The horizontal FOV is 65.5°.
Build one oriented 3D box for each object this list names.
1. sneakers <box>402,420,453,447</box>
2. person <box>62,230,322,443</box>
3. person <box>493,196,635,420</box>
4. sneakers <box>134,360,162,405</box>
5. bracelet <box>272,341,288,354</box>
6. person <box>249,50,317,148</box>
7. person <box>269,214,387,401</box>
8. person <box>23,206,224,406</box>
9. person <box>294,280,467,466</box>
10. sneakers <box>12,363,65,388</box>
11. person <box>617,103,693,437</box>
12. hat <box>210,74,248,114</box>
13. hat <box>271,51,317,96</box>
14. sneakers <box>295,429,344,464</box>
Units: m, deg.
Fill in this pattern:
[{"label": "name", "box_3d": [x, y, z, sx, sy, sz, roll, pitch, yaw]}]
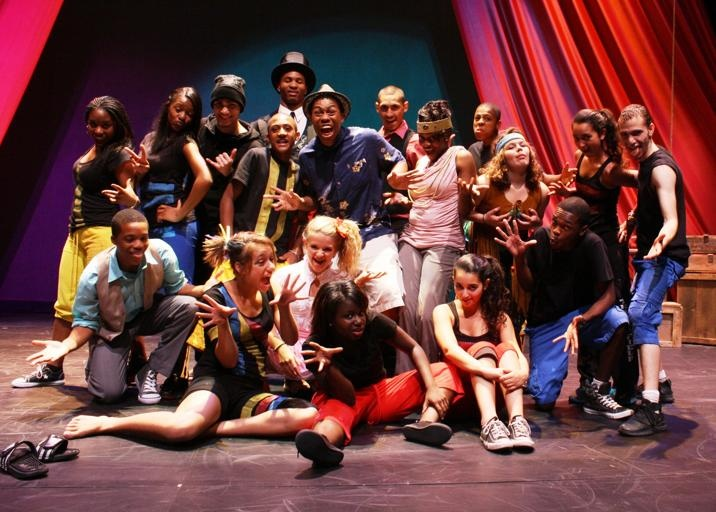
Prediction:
[{"label": "sneakers", "box_3d": [0.312, 0.773, 2.481, 0.221, 0.095, 0.093, 1, 8, 22]}, {"label": "person", "box_3d": [-0.724, 0.373, 2.524, 1.085, 0.977, 0.643, -3, -3, -27]}, {"label": "person", "box_3d": [1.107, 0.265, 2.911, 0.645, 1.106, 0.703, 1, -6, -26]}, {"label": "sneakers", "box_3d": [-1.092, 0.680, 2.923, 0.089, 0.108, 0.265, 3, 3, -24]}, {"label": "bracelet", "box_3d": [-0.373, 0.433, 2.667, 0.049, 0.013, 0.051, -26, -19, -47]}, {"label": "person", "box_3d": [-0.462, -1.079, 4.032, 0.533, 0.729, 0.370, 5, -6, -8]}, {"label": "person", "box_3d": [-0.157, 0.279, 2.937, 0.707, 0.978, 0.489, -8, 6, -36]}, {"label": "person", "box_3d": [-1.244, 0.260, 2.943, 1.086, 0.984, 0.587, -16, 29, -40]}, {"label": "person", "box_3d": [0.067, 0.495, 2.621, 0.722, 0.564, 0.718, -6, -1, -20]}, {"label": "sneakers", "box_3d": [-1.765, 0.674, 3.155, 0.303, 0.143, 0.103, 6, -3, -24]}, {"label": "person", "box_3d": [1.448, 0.020, 2.774, 0.346, 1.575, 0.667, 4, 6, 31]}, {"label": "hat", "box_3d": [-0.786, -0.999, 3.447, 0.225, 0.222, 0.232, 3, -2, -27]}, {"label": "hat", "box_3d": [-0.456, -1.421, 4.177, 0.324, 0.178, 0.336, 2, -28, -4]}, {"label": "sneakers", "box_3d": [-0.145, 0.750, 2.237, 0.189, 0.115, 0.081, 32, 7, -8]}]
